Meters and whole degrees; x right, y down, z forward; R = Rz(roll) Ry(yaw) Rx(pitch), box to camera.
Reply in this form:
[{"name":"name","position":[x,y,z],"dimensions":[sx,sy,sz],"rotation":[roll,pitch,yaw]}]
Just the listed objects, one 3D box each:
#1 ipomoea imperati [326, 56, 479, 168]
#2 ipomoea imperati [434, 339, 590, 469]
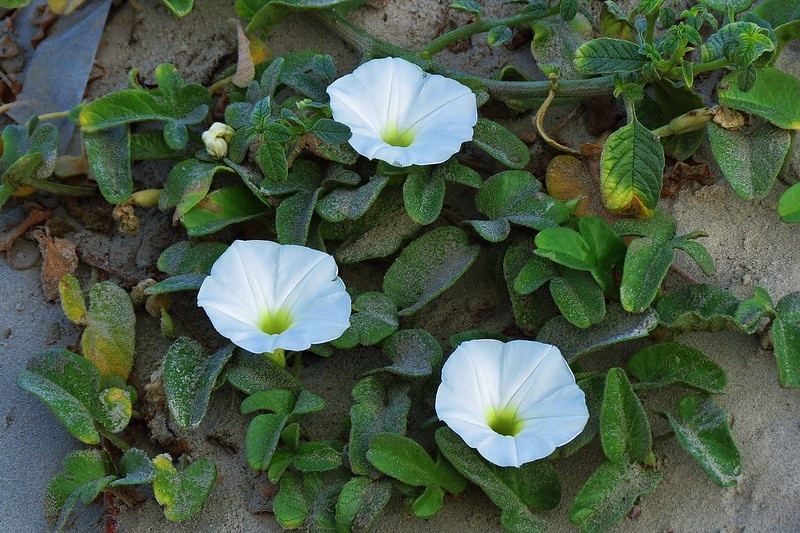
[{"name":"ipomoea imperati","position":[0.003,-0.610,3.461],"dimensions":[0.464,0.517,0.248],"rotation":[10,90,-29]},{"name":"ipomoea imperati","position":[0.397,0.485,3.002],"dimensions":[0.528,0.189,0.448],"rotation":[2,79,3]}]
